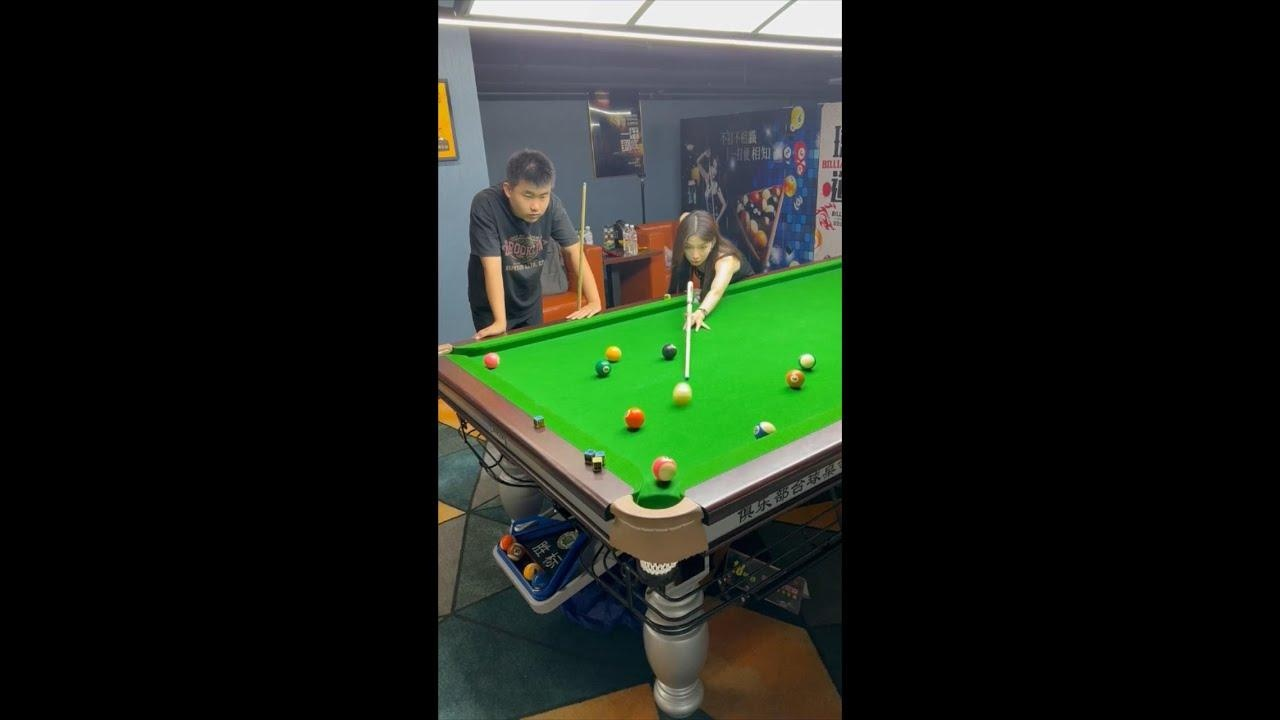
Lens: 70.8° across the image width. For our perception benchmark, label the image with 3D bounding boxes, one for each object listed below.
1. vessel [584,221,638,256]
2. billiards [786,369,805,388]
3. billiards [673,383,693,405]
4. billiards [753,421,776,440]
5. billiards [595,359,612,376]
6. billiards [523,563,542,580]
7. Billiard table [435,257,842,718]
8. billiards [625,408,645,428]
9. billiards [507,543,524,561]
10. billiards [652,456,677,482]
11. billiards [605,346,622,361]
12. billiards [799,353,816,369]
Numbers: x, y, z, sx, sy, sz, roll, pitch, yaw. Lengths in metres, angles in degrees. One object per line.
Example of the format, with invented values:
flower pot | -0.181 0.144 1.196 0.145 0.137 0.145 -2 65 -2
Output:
vessel | -0.250 -0.994 7.591 0.433 0.197 0.583 -6 12 -28
billiards | 0.478 0.057 2.709 0.058 0.050 0.035 1 -16 6
billiards | 0.123 0.100 2.611 0.064 0.056 0.069 12 -10 -3
billiards | 0.325 0.183 2.320 0.042 0.040 0.049 16 -32 -25
billiards | -0.104 0.034 2.905 0.052 0.048 0.049 -12 23 23
billiards | -0.328 0.647 2.755 0.043 0.041 0.053 -23 -2 -10
Billiard table | 0.359 0.200 2.695 1.673 0.440 1.087 -13 21 -41
billiards | -0.013 0.157 2.432 0.052 0.056 0.072 -2 19 -1
billiards | -0.391 0.610 2.845 0.053 0.026 0.050 12 34 17
billiards | 0.042 0.234 1.969 0.054 0.049 0.052 -16 30 -33
billiards | -0.087 -0.018 3.023 0.034 0.033 0.035 -30 12 27
billiards | 0.532 0.001 2.876 0.046 0.048 0.048 -23 41 -20
